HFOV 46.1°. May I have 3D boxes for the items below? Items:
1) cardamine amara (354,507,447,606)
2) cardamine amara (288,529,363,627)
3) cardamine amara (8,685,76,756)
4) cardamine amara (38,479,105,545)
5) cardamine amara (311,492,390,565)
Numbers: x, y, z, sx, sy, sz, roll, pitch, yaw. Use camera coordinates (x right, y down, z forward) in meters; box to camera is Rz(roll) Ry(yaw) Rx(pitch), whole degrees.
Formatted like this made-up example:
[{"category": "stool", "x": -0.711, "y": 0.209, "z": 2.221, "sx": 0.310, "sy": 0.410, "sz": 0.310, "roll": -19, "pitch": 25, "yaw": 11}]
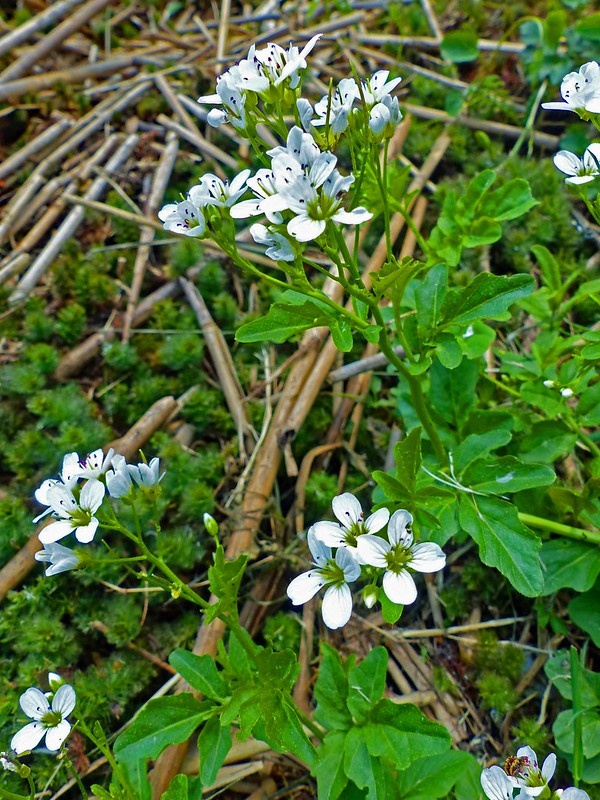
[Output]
[{"category": "cardamine amara", "x": 0.283, "y": 0.444, "z": 1.963, "sx": 0.276, "sy": 0.261, "sz": 0.087, "roll": -49, "pitch": 10, "yaw": -35}, {"category": "cardamine amara", "x": 0.072, "y": 0.557, "z": 2.014, "sx": 0.183, "sy": 0.303, "sz": 0.242, "roll": 7, "pitch": 28, "yaw": 8}, {"category": "cardamine amara", "x": -0.762, "y": 0.959, "z": 2.120, "sx": 0.223, "sy": 0.076, "sz": 0.223, "roll": -8, "pitch": 64, "yaw": -1}, {"category": "cardamine amara", "x": -0.670, "y": 0.379, "z": 2.170, "sx": 0.214, "sy": 0.082, "sz": 0.202, "roll": -4, "pitch": 55, "yaw": 19}, {"category": "cardamine amara", "x": 0.147, "y": 0.389, "z": 2.016, "sx": 0.240, "sy": 0.095, "sz": 0.210, "roll": -11, "pitch": 32, "yaw": 50}]
